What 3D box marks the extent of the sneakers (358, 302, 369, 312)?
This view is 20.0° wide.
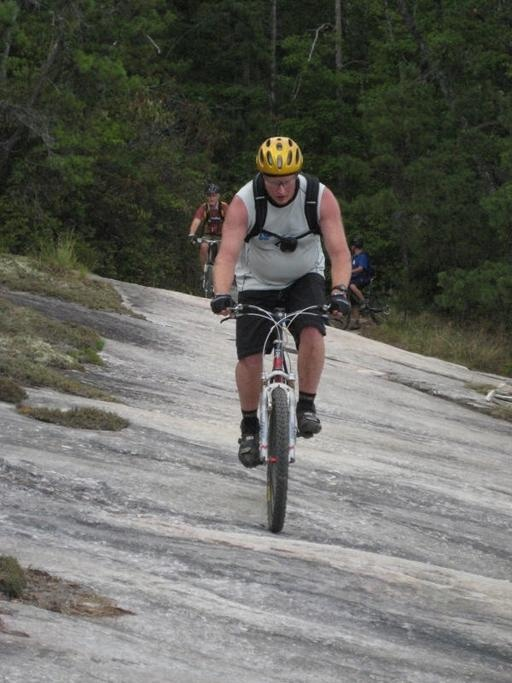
[{"bbox_3d":[1.822,-0.584,24.500,0.102,0.115,0.320,-8,8,-13],"label":"sneakers"}]

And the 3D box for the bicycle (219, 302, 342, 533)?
[{"bbox_3d":[0.066,0.443,9.971,0.653,1.587,0.863,10,9,-1],"label":"bicycle"}]

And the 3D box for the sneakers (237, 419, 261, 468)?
[{"bbox_3d":[-0.032,0.724,10.242,0.122,0.381,0.161,1,-17,-4],"label":"sneakers"}]

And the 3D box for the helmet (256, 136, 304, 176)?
[{"bbox_3d":[0.172,-1.246,9.812,0.297,0.263,0.329,11,9,-2],"label":"helmet"}]

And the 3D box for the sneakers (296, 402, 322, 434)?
[{"bbox_3d":[0.379,0.573,10.144,0.088,0.147,0.280,1,-21,-7],"label":"sneakers"}]
